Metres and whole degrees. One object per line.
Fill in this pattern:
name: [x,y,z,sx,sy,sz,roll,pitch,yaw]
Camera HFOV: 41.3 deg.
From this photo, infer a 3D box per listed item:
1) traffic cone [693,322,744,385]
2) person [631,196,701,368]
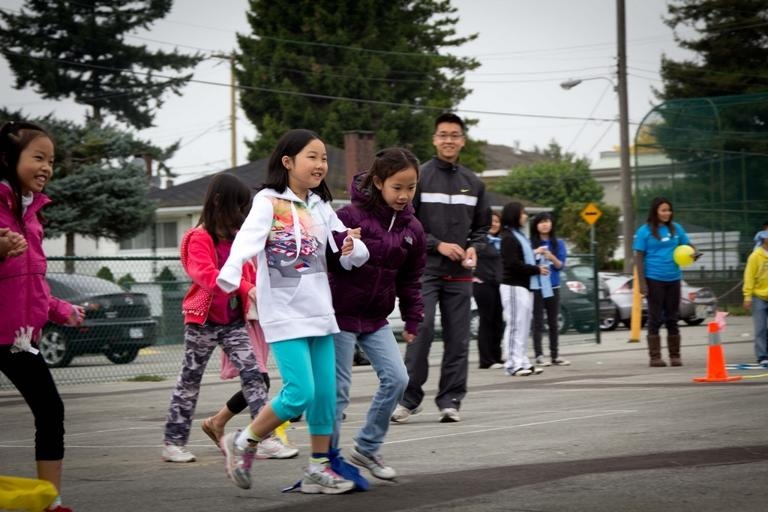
traffic cone: [4.052,1.175,12.623,0.859,0.778,0.747,-5,-1,11]
person: [3.855,0.351,14.034,0.738,2.343,0.643,-4,-3,12]
